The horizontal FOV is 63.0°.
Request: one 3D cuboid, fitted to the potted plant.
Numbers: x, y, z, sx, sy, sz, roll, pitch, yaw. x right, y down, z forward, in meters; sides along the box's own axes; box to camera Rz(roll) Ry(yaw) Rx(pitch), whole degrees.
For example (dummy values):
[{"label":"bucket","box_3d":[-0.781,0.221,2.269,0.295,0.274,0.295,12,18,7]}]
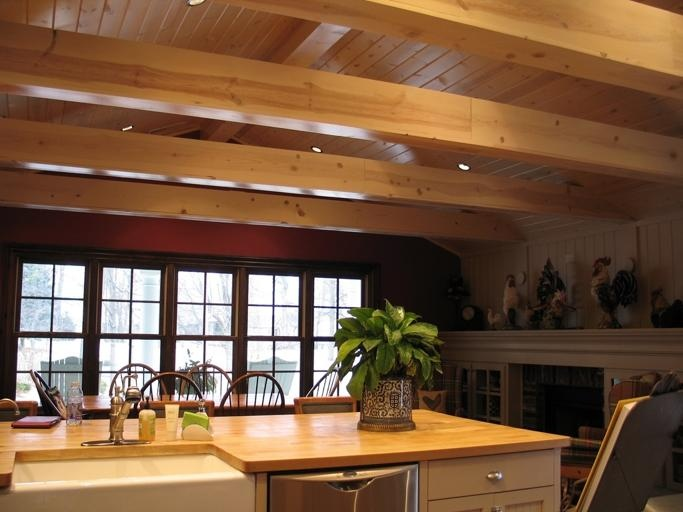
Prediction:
[{"label":"potted plant","box_3d":[0.300,0.549,2.860,0.657,0.576,0.633,-5,-11,40]}]
